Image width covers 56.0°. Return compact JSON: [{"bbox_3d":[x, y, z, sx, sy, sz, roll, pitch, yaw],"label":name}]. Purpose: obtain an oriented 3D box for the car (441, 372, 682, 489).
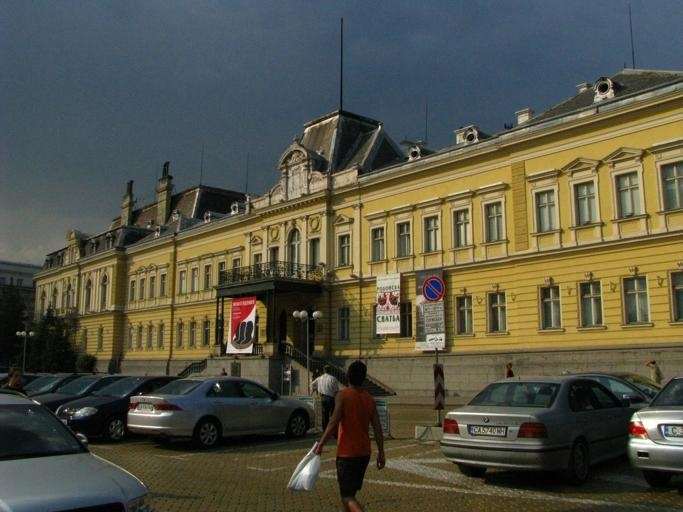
[{"bbox_3d":[3.827,3.288,12.406,3.506,1.934,1.784,5,-12,-25],"label":"car"}]
